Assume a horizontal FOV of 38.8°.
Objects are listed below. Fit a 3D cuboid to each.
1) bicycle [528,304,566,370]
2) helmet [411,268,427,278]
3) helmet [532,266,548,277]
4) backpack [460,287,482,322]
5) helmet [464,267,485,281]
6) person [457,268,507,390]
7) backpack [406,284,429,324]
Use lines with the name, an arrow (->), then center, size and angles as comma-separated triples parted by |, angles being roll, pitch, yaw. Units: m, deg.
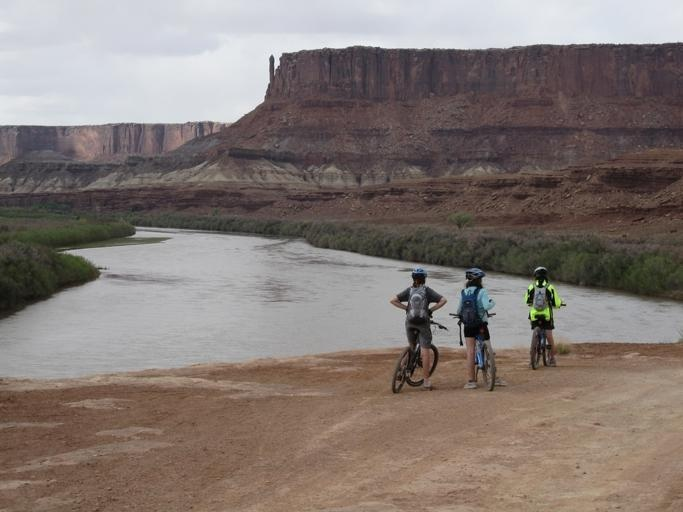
bicycle -> 3.961, 1.636, 18.440 | 0.656, 0.827, 1.277 | 1, 5, 10
helmet -> 1.455, 0.305, 18.273 | 0.348, 0.193, 0.513 | 1, 1, 4
helmet -> 4.621, 0.333, 22.636 | 0.324, 0.347, 0.432 | 0, -13, 2
backpack -> 2.170, 0.837, 16.236 | 0.398, 0.623, 0.391 | 0, 1, 4
helmet -> 2.211, 0.335, 16.294 | 0.340, 0.228, 0.259 | 4, 11, 31
person -> 2.323, 1.216, 16.571 | 0.641, 2.082, 1.114 | -1, 6, 8
backpack -> 1.272, 0.800, 16.226 | 0.357, 0.622, 0.595 | 1, 5, 12
